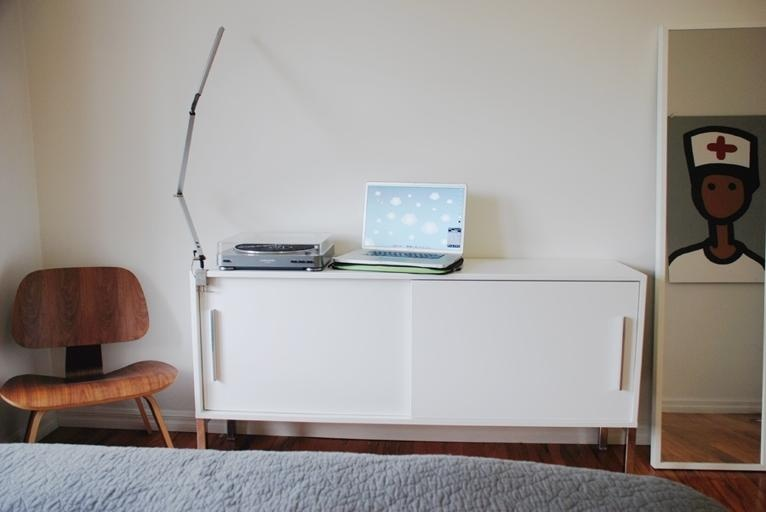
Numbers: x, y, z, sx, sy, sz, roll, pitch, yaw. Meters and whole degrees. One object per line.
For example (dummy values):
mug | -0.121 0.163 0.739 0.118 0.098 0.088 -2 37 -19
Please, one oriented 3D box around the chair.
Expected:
chair | -1.537 0.547 2.911 0.916 0.928 0.609 -1 9 -11
